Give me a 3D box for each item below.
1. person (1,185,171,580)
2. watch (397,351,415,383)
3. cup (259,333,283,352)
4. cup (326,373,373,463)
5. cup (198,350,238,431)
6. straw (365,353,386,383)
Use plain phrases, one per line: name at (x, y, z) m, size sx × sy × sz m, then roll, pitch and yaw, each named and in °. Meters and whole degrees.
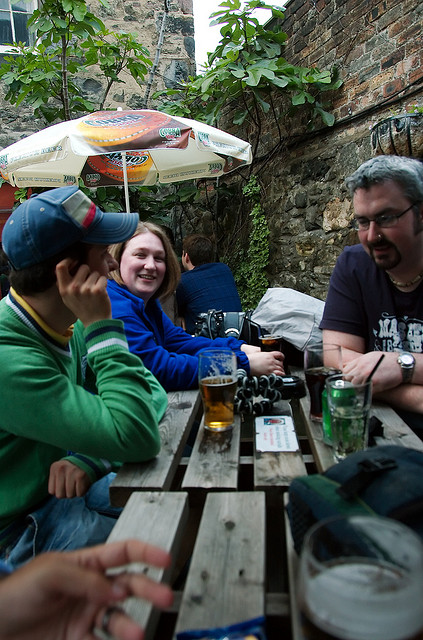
person at (-0.360, 0.114, 1.180) m, size 0.432 × 0.942 × 0.542 m, roll -5°, pitch 14°, yaw -7°
watch at (0.681, 0.170, 1.483) m, size 0.054 × 0.080 × 0.087 m, roll 7°, pitch 28°, yaw 3°
cup at (0.282, 0.103, 2.000) m, size 0.075 × 0.062 × 0.084 m, roll -1°, pitch -4°, yaw 4°
cup at (0.313, 0.248, 1.032) m, size 0.103 × 0.166 × 0.104 m, roll 1°, pitch -10°, yaw 0°
cup at (0.021, 0.211, 1.271) m, size 0.110 × 0.246 × 0.124 m, roll -4°, pitch 14°, yaw -1°
straw at (0.550, 0.164, 1.417) m, size 0.016 × 0.121 × 0.017 m, roll 13°, pitch 33°, yaw -14°
